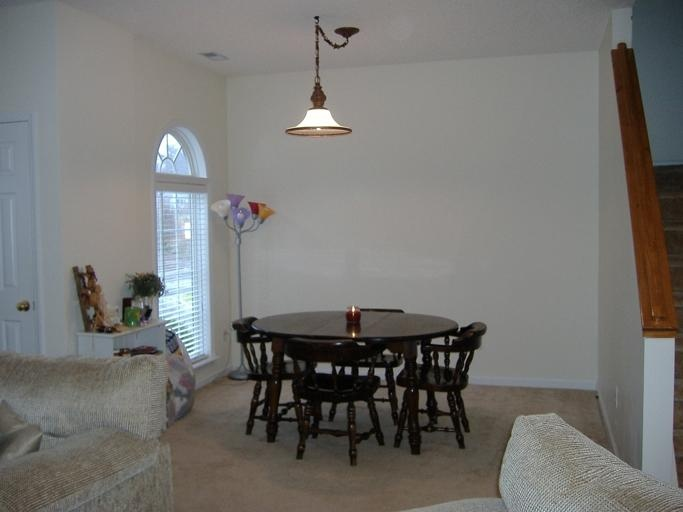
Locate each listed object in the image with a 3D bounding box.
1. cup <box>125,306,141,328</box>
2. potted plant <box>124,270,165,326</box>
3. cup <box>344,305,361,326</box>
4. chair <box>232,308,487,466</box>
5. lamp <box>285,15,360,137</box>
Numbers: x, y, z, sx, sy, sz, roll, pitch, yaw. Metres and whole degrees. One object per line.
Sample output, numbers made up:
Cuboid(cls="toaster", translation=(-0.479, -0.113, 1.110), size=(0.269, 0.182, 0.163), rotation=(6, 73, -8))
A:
Cuboid(cls="cup", translation=(-1.756, 0.493, 4.599), size=(0.141, 0.175, 0.141), rotation=(1, -6, 0))
Cuboid(cls="potted plant", translation=(-1.705, 0.362, 4.915), size=(0.302, 0.444, 0.318), rotation=(6, -11, 1))
Cuboid(cls="cup", translation=(0.092, 0.480, 4.443), size=(0.131, 0.147, 0.104), rotation=(-2, 4, -4))
Cuboid(cls="chair", translation=(0.183, 0.926, 4.178), size=(1.244, 0.639, 1.326), rotation=(-1, -2, 9))
Cuboid(cls="lamp", translation=(-0.144, -1.387, 4.172), size=(0.519, 0.871, 0.468), rotation=(3, 11, 12))
